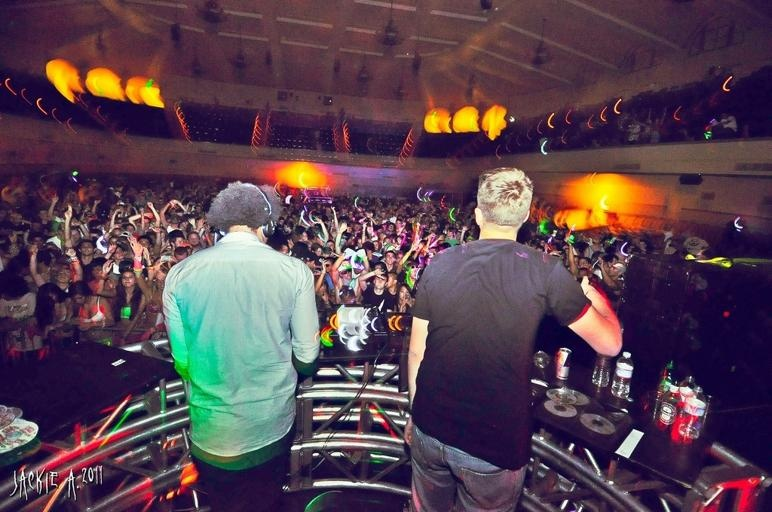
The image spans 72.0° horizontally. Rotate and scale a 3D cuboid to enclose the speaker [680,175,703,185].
[{"bbox_3d":[6.821,-1.694,11.992,0.261,0.188,0.281,-1,-2,-8],"label":"speaker"}]
